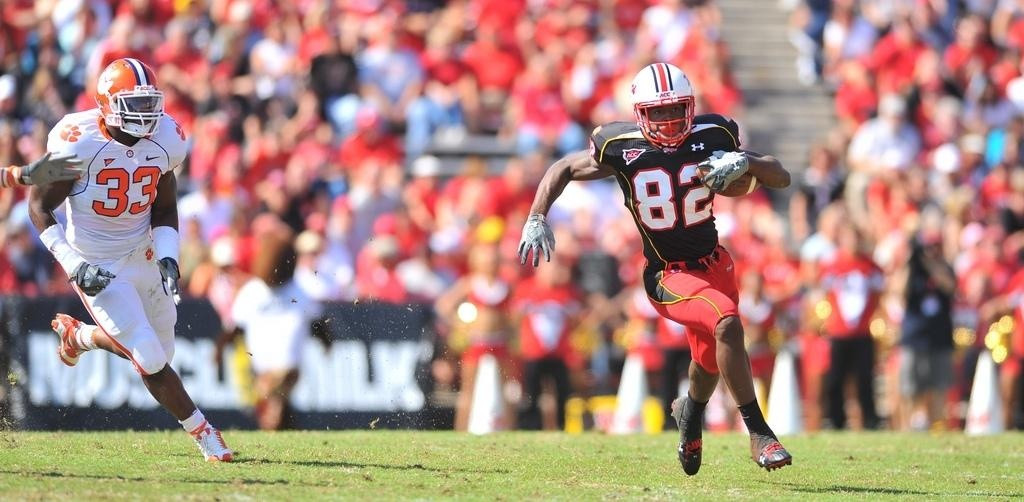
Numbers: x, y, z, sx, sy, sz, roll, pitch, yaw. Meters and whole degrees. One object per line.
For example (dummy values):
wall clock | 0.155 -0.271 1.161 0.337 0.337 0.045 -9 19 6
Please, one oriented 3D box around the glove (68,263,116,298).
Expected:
glove | -5.169 0.343 15.208 0.512 0.346 0.210 23 13 -25

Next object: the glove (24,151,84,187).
glove | -5.601 -1.002 15.174 0.674 0.408 0.226 0 -22 -10

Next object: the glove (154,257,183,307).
glove | -4.308 0.328 15.528 0.238 0.679 0.313 -22 27 -30

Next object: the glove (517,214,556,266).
glove | 0.319 -0.139 15.746 0.569 0.625 0.198 1 -5 1

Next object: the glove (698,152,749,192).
glove | 2.584 -1.015 15.120 0.612 0.437 0.300 -34 -24 -15
